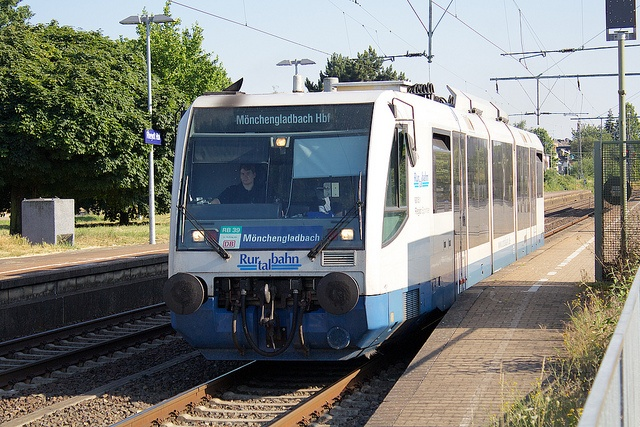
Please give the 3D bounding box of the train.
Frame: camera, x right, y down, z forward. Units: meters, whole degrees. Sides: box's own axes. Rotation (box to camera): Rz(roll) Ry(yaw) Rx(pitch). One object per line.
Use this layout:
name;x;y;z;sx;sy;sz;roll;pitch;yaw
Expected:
train;0.951;-0.161;10.692;2.455;4.474;7.439;0;11;45

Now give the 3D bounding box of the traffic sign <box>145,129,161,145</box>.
traffic sign;-5.657;-2.598;20.666;0.404;0.506;1.144;-8;7;-10
